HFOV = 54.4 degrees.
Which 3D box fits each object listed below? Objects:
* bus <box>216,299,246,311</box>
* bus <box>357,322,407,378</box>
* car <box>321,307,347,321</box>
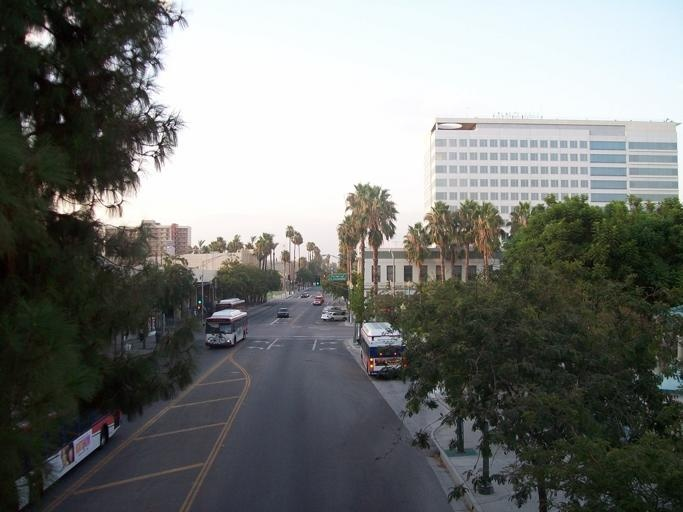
[{"bbox_3d":[-10.001,4.398,60.864,1.302,1.543,5.112,2,1,4],"label":"bus"},{"bbox_3d":[2.346,5.304,35.551,1.415,2.020,4.578,0,3,-2],"label":"bus"},{"bbox_3d":[-0.897,6.673,77.312,1.346,1.209,3.205,-5,-9,34],"label":"car"}]
